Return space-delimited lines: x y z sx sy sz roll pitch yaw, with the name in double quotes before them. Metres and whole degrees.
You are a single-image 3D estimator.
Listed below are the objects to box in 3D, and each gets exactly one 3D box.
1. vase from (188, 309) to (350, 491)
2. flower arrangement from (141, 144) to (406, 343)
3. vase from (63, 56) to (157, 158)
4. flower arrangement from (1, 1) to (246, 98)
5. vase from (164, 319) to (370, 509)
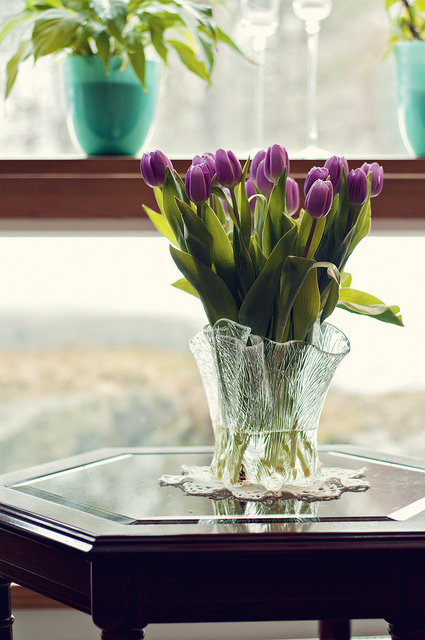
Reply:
"vase" 0.047 0.074 0.561 0.149 0.148 0.145 1 -3 18
"flower arrangement" 0.029 -0.066 0.611 0.222 0.203 0.184 0 11 -8
"vase" -0.128 -0.267 0.772 0.117 0.116 0.112 -10 26 -29
"flower arrangement" -0.118 -0.332 0.753 0.232 0.077 0.220 -1 4 -2
"vase" 0.061 0.083 0.587 0.170 0.139 0.165 -2 -9 17
